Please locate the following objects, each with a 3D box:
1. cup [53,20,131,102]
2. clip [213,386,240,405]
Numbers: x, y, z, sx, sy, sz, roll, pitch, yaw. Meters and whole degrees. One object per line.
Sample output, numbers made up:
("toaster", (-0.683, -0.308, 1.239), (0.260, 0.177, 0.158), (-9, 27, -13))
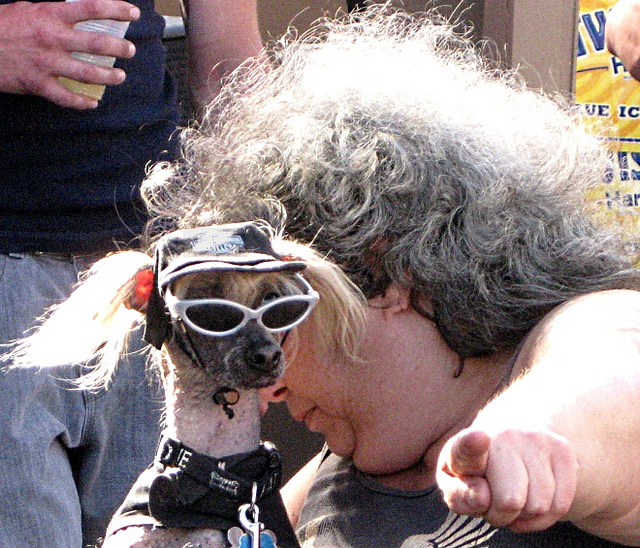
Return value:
("cup", (-0.565, -0.511, 3.210), (0.102, 0.222, 0.220), (14, 44, 7))
("clip", (-0.203, 0.264, 2.843), (0.057, 0.050, 0.026), (-9, 47, -17))
